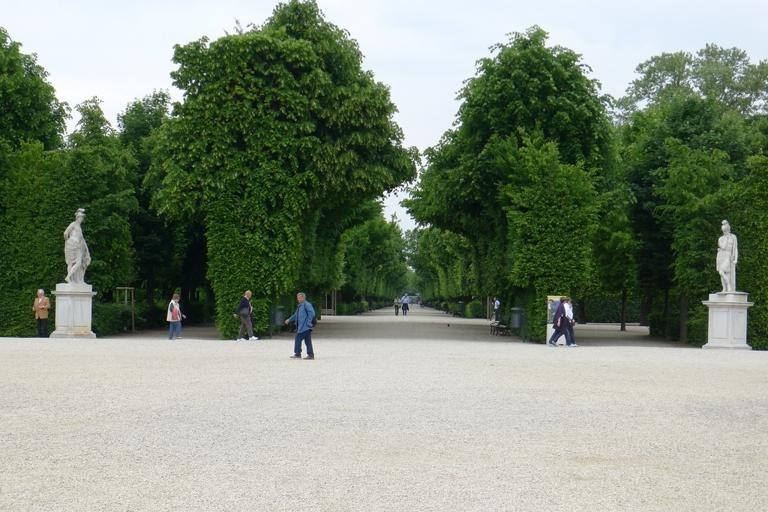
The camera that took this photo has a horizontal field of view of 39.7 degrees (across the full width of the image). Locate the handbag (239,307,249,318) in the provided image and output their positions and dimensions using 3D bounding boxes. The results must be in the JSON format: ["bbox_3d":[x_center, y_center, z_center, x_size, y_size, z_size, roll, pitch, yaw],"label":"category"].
[{"bbox_3d":[-5.787,2.334,43.653,0.328,0.386,0.413,-2,0,-28],"label":"handbag"}]

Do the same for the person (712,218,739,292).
[{"bbox_3d":[13.639,0.016,42.300,0.754,2.884,0.952,0,-5,17],"label":"person"}]

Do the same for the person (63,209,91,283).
[{"bbox_3d":[-12.963,-0.426,44.491,1.030,3.208,1.187,3,-5,-16],"label":"person"}]

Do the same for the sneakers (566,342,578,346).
[{"bbox_3d":[7.747,3.599,43.600,0.528,0.203,0.172,-1,4,-9],"label":"sneakers"}]

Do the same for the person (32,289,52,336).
[{"bbox_3d":[-14.536,2.375,44.794,0.696,1.961,1.135,3,-5,-19],"label":"person"}]

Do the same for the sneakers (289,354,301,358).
[{"bbox_3d":[-3.072,3.361,35.843,0.428,0.164,0.141,4,0,16],"label":"sneakers"}]

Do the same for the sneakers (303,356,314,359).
[{"bbox_3d":[-2.612,3.433,35.972,0.355,0.137,0.120,3,-1,16],"label":"sneakers"}]
